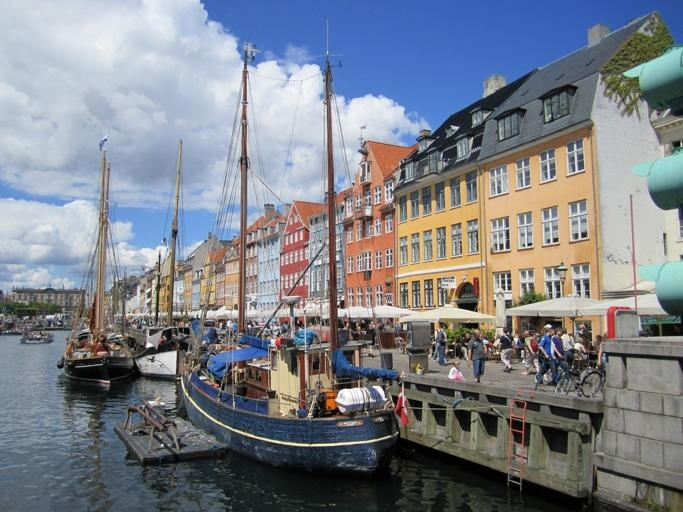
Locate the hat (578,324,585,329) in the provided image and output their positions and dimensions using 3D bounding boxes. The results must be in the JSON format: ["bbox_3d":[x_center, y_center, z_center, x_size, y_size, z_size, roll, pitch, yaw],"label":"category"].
[{"bbox_3d":[13.103,3.865,32.224,0.268,0.316,0.392,-11,-37,21],"label":"hat"}]

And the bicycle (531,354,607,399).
[{"bbox_3d":[8.056,4.122,19.797,1.067,1.526,2.192,0,0,41],"label":"bicycle"}]
